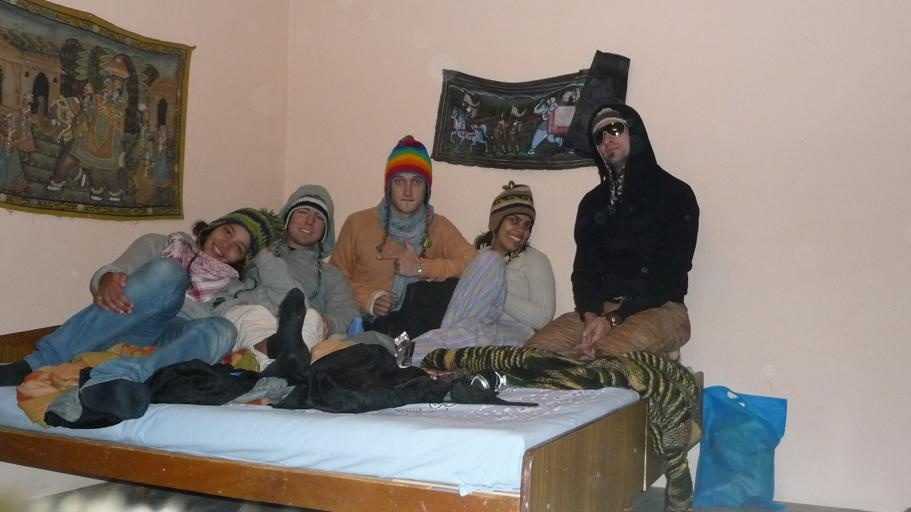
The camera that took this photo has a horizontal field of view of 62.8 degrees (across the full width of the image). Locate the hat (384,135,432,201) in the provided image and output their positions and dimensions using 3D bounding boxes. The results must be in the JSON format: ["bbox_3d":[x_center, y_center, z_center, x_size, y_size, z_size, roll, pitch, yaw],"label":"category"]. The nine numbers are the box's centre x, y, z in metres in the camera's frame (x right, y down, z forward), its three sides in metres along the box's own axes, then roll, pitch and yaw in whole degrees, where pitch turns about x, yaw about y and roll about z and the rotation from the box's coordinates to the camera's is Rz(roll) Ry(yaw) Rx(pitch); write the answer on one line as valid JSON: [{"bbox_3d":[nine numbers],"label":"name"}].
[{"bbox_3d":[-0.332,-0.826,6.467,0.412,0.465,0.533,1,8,-1],"label":"hat"}]

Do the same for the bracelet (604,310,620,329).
[{"bbox_3d":[1.174,0.482,5.636,0.123,0.106,0.039,-7,-16,-15],"label":"bracelet"}]

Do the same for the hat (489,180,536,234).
[{"bbox_3d":[0.486,-0.405,6.303,0.341,0.404,0.464,11,-12,-36],"label":"hat"}]

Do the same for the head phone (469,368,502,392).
[{"bbox_3d":[0.206,0.782,4.672,0.176,0.085,0.120,-1,13,-30],"label":"head phone"}]

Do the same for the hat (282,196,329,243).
[{"bbox_3d":[-1.154,-0.265,5.725,0.326,0.366,0.202,15,-4,-6],"label":"hat"}]
